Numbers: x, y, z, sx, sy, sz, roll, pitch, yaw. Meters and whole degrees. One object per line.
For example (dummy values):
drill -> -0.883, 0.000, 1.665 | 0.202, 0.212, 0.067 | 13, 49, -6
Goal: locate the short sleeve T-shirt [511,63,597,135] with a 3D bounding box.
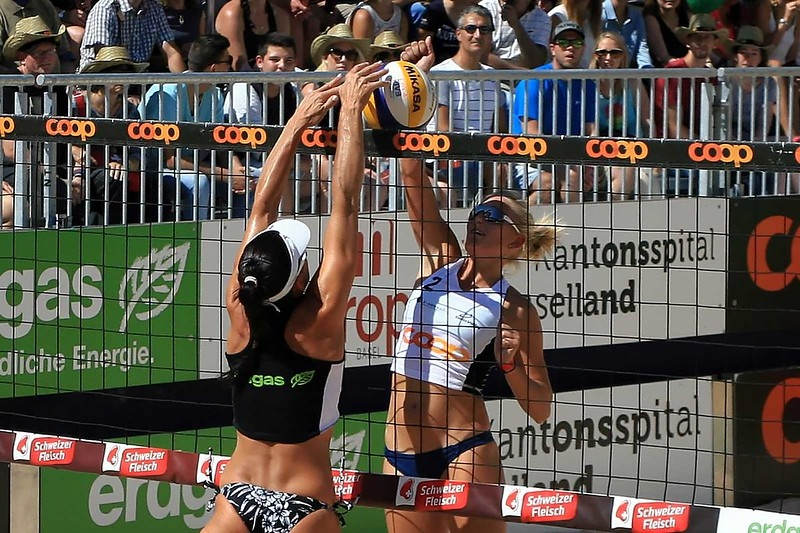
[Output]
short sleeve T-shirt -> 1.299, -1.383, 14.859 | 0.622, 0.758, 0.370 | 2, -9, -6

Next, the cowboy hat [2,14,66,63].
cowboy hat -> -3.155, -1.926, 14.777 | 0.438, 0.191, 0.356 | -33, -11, 28

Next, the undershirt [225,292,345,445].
undershirt -> -0.744, 0.680, 12.372 | 1.010, 1.441, 0.761 | 0, -5, 9

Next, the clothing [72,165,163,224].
clothing -> -2.261, -0.531, 14.139 | 0.673, 0.055, 0.721 | -7, -40, -36

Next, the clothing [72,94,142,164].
clothing -> -2.302, -1.050, 13.512 | 0.398, 0.548, 0.298 | -13, -14, -31

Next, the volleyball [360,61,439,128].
volleyball -> 0.039, -1.205, 12.781 | 0.442, 0.549, 0.471 | -7, -17, -39

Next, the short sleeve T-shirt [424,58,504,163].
short sleeve T-shirt -> 0.342, -1.364, 14.886 | 0.607, 0.677, 0.366 | 6, -49, -26

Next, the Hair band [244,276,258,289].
Hair band -> -1.023, 0.102, 11.891 | 0.104, 0.067, 0.040 | 1, 2, 18

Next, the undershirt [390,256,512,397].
undershirt -> 0.380, 0.451, 12.939 | 0.715, 1.006, 0.519 | 22, -2, 27

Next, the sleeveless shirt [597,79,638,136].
sleeveless shirt -> 1.916, -1.378, 15.275 | 0.344, 0.490, 0.254 | 8, 41, 18

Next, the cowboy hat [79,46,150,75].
cowboy hat -> -2.417, -1.714, 14.763 | 0.384, 0.148, 0.354 | -3, -13, -11

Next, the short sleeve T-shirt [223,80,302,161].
short sleeve T-shirt -> -1.083, -1.118, 13.515 | 0.689, 0.812, 0.030 | 3, -5, -24

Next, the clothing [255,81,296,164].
clothing -> -1.044, -1.361, 14.754 | 0.236, 0.353, 0.188 | -1, 23, 23
